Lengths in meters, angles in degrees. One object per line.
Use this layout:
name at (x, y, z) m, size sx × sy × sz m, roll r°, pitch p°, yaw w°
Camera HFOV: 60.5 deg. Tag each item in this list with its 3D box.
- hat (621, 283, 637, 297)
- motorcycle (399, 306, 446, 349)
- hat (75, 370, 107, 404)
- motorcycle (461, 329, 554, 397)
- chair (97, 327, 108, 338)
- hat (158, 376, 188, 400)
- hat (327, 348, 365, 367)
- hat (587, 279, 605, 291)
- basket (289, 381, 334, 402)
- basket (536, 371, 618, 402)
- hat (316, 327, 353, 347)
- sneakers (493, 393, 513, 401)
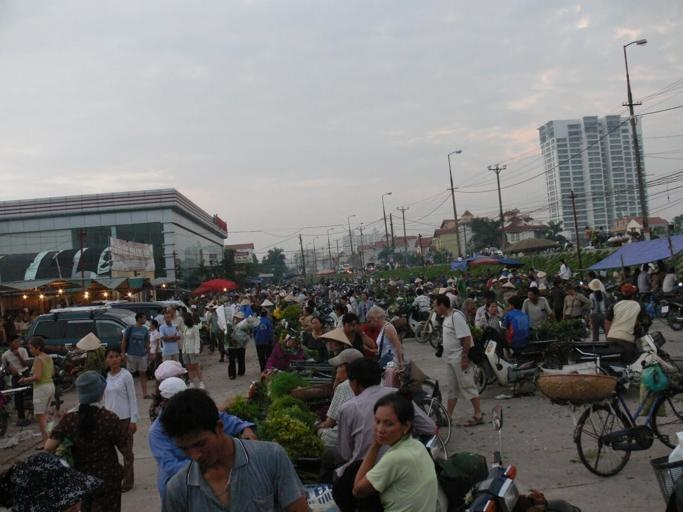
hat at (4.876, 0.545, 9.815) m, size 0.196 × 0.142 × 0.278 m, roll 0°, pitch 35°, yaw 47°
motorcycle at (2.611, 2.388, 19.420) m, size 1.978 × 1.168 × 1.107 m, roll -1°, pitch -3°, yaw 17°
hat at (-2.664, 1.386, 6.191) m, size 0.254 × 0.305 × 0.323 m, roll 2°, pitch -10°, yaw 14°
motorcycle at (3.326, 1.970, 11.220) m, size 2.195 × 1.220 × 0.982 m, roll 1°, pitch -6°, yaw -12°
chair at (-6.696, 2.152, 16.256) m, size 0.214 × 0.359 × 0.202 m, roll -4°, pitch -29°, yaw -18°
hat at (-1.716, 1.348, 5.879) m, size 0.259 × 0.231 × 0.438 m, roll -5°, pitch 1°, yaw -18°
hat at (0.053, 1.240, 6.814) m, size 0.389 × 0.130 × 0.236 m, roll -10°, pitch 6°, yaw 1°
hat at (6.331, 0.736, 14.266) m, size 0.392 × 0.109 × 0.356 m, roll -21°, pitch 29°, yaw -11°
basket at (-0.439, 1.915, 8.115) m, size 0.691 × 0.214 × 0.265 m, roll -5°, pitch 1°, yaw -36°
basket at (2.872, 1.612, 7.166) m, size 0.559 × 0.220 × 0.525 m, roll 4°, pitch -6°, yaw 22°
hat at (-0.054, 1.178, 8.502) m, size 0.304 × 0.120 × 0.295 m, roll 26°, pitch -10°, yaw -28°
sneakers at (3.143, 2.711, 11.178) m, size 0.239 × 0.076 × 0.133 m, roll 4°, pitch -6°, yaw -19°
